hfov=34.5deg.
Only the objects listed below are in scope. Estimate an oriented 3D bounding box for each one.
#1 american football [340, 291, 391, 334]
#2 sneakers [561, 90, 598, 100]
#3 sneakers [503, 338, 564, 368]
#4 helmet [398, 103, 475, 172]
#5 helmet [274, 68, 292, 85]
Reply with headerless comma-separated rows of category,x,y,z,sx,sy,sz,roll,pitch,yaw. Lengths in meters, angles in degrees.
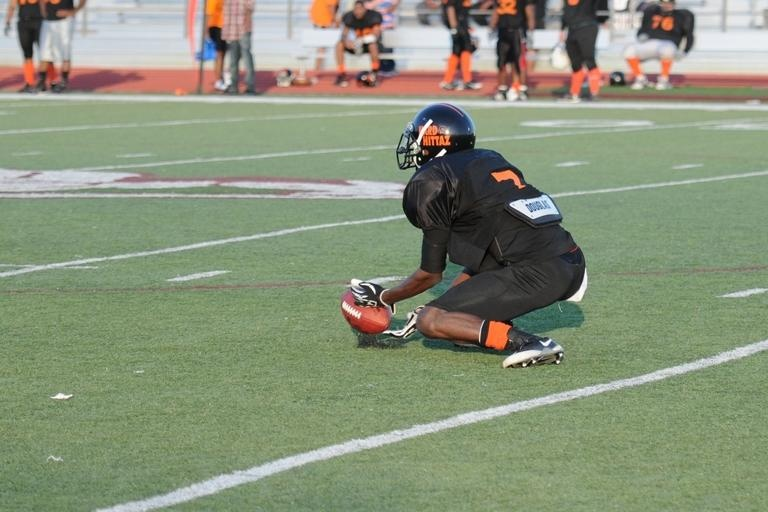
american football,-0.160,0.413,8.578,0.361,0.173,0.250,11,7,35
sneakers,3.114,-2.525,19.721,0.592,0.184,0.171,6,6,-2
sneakers,1.004,0.651,8.239,0.395,0.175,0.164,-6,53,8
helmet,0.331,-0.854,8.673,0.624,0.381,0.438,4,15,24
helmet,-1.759,-3.151,21.965,0.296,0.298,0.347,-1,15,-5
